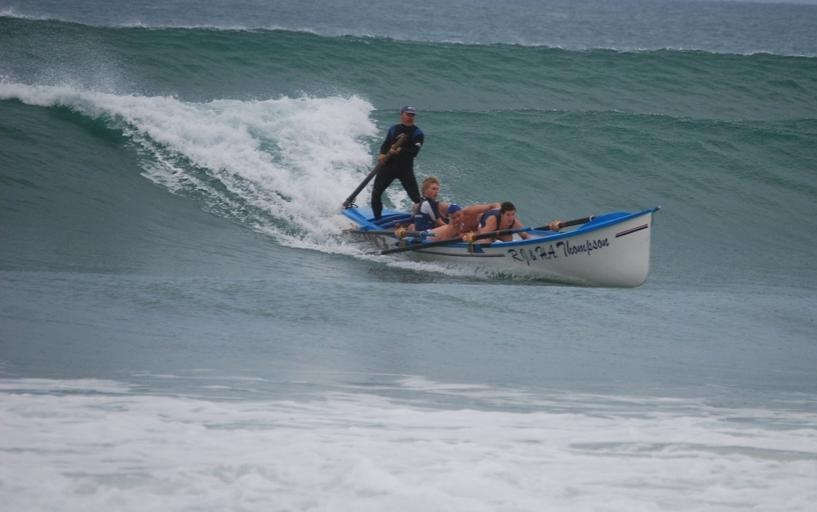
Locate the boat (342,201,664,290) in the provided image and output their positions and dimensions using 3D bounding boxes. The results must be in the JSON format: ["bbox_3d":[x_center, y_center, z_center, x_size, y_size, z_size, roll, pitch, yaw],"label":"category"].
[{"bbox_3d":[2.042,-0.353,31.133,9.581,1.280,2.592,4,11,27],"label":"boat"}]
